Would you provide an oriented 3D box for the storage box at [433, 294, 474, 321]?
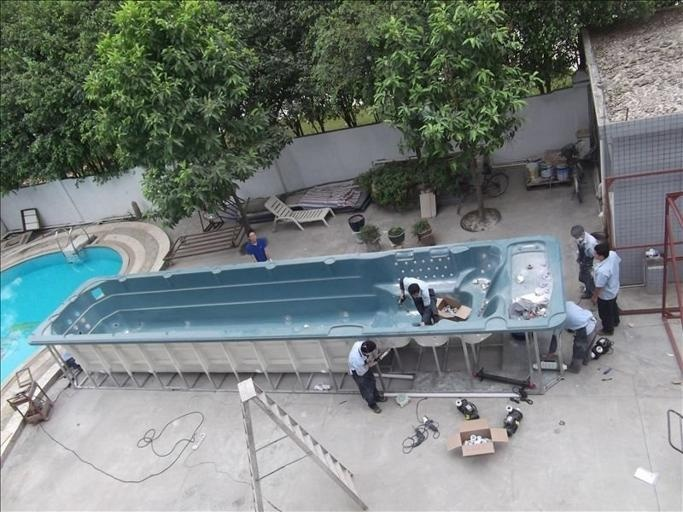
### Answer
[{"bbox_3d":[2.047,0.933,9.007,0.468,0.161,0.475,4,34,4],"label":"storage box"}]

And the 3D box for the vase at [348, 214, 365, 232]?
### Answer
[{"bbox_3d":[0.390,-0.936,13.189,0.456,0.337,0.461,-15,35,11],"label":"vase"}]

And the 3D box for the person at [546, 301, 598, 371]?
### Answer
[{"bbox_3d":[3.745,1.339,8.095,0.833,1.140,0.446,2,55,47],"label":"person"}]

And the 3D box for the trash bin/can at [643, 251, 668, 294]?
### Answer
[{"bbox_3d":[5.598,0.258,8.911,0.269,0.801,0.324,-2,27,29],"label":"trash bin/can"}]

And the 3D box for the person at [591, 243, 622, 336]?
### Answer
[{"bbox_3d":[4.489,0.533,8.429,0.339,1.648,0.492,4,30,38],"label":"person"}]

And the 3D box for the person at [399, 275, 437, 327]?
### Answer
[{"bbox_3d":[1.394,0.741,8.655,0.542,1.263,0.890,-2,73,20],"label":"person"}]

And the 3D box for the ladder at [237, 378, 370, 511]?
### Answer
[{"bbox_3d":[-0.588,3.126,8.018,1.524,2.045,0.648,-26,38,-3],"label":"ladder"}]

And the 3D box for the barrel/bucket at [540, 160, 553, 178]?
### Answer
[{"bbox_3d":[5.136,-2.196,12.537,0.346,0.353,0.338,-15,39,12],"label":"barrel/bucket"}]

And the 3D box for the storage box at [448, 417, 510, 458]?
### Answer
[{"bbox_3d":[2.058,2.765,7.605,0.886,0.253,0.499,-10,24,14],"label":"storage box"}]

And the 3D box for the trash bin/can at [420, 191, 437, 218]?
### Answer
[{"bbox_3d":[2.233,-1.336,12.915,0.444,0.681,0.317,-13,24,8],"label":"trash bin/can"}]

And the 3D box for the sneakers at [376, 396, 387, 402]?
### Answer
[{"bbox_3d":[0.693,2.487,8.648,0.169,0.069,0.064,-7,67,11],"label":"sneakers"}]

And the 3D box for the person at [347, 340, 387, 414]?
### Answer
[{"bbox_3d":[0.418,2.077,8.488,0.482,1.297,0.437,-6,55,11],"label":"person"}]

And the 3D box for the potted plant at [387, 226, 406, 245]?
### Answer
[{"bbox_3d":[1.351,-0.486,12.260,0.421,0.348,0.387,-18,38,-8],"label":"potted plant"}]

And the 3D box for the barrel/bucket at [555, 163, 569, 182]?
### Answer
[{"bbox_3d":[5.487,-2.062,12.347,0.302,0.453,0.191,-6,25,22],"label":"barrel/bucket"}]

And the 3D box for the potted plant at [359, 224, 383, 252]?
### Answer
[{"bbox_3d":[0.713,-0.424,12.299,0.408,0.544,0.502,-33,39,-25],"label":"potted plant"}]

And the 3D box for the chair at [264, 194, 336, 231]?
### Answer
[{"bbox_3d":[-1.229,-1.172,14.595,1.846,0.816,0.936,2,50,23],"label":"chair"}]
